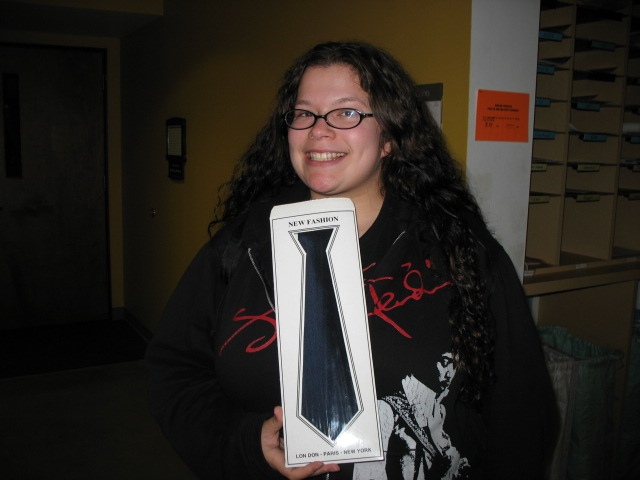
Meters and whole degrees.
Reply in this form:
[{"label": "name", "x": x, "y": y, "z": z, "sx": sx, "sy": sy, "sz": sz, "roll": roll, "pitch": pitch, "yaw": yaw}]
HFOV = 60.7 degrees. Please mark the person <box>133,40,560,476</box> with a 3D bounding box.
[{"label": "person", "x": 0.128, "y": 0.063, "z": 2.202, "sx": 1.172, "sy": 1.512, "sz": 0.374, "roll": 2, "pitch": -4, "yaw": 3}]
